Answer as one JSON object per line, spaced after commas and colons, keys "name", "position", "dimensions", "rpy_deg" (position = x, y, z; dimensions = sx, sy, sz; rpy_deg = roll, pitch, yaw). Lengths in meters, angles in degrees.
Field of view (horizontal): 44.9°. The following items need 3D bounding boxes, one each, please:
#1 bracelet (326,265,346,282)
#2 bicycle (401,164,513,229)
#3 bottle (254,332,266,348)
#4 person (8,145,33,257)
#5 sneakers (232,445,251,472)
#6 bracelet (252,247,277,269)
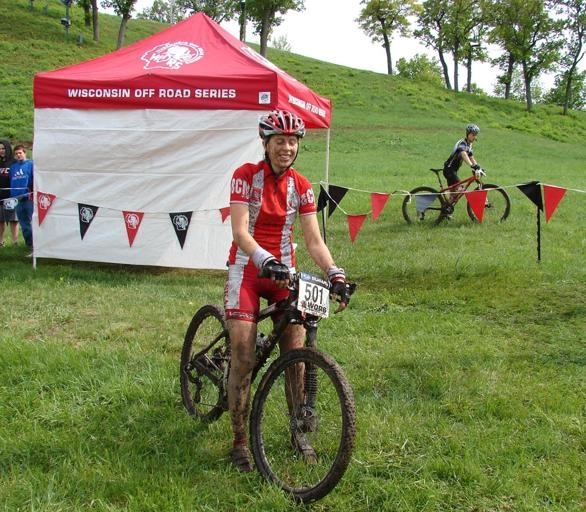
{"name": "bracelet", "position": [0.354, 0.158, 5.936], "dimensions": [0.095, 0.105, 0.150], "rpy_deg": [0, -7, -14]}
{"name": "bicycle", "position": [3.416, -1.235, 15.060], "dimensions": [2.176, 1.540, 1.071], "rpy_deg": [0, -20, 15]}
{"name": "bottle", "position": [-0.279, 0.721, 6.008], "dimensions": [0.093, 0.109, 0.069], "rpy_deg": [12, -23, 10]}
{"name": "person", "position": [-5.109, -1.063, 13.305], "dimensions": [0.383, 1.944, 0.484], "rpy_deg": [-1, 10, -25]}
{"name": "sneakers", "position": [-0.432, 1.690, 5.869], "dimensions": [0.106, 0.232, 0.087], "rpy_deg": [-13, -19, -2]}
{"name": "bracelet", "position": [-0.243, 0.020, 5.693], "dimensions": [0.161, 0.143, 0.138], "rpy_deg": [19, 2, 28]}
